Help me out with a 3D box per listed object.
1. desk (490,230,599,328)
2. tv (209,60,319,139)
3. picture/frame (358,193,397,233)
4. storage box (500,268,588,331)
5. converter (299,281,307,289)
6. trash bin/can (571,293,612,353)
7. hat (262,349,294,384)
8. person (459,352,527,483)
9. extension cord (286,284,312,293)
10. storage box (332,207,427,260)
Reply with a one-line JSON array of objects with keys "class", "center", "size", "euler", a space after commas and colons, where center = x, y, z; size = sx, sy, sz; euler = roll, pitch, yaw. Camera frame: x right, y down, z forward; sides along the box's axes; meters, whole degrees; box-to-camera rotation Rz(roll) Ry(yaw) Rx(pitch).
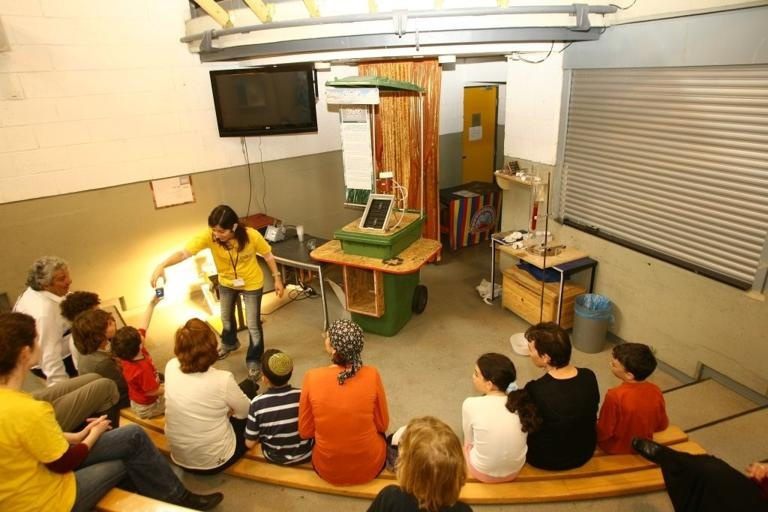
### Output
[{"class": "desk", "center": [2.008, 0.142, 6.600], "size": [0.579, 0.779, 1.068], "euler": [-32, 45, -16]}, {"class": "tv", "center": [-1.550, -2.049, 6.560], "size": [1.118, 0.662, 0.113], "euler": [-1, 20, 3]}, {"class": "picture/frame", "center": [-0.078, -0.530, 6.093], "size": [0.342, 0.481, 0.126], "euler": [9, -17, 28]}, {"class": "storage box", "center": [2.034, 0.455, 6.421], "size": [0.719, 0.726, 1.053], "euler": [-9, 21, -27]}, {"class": "converter", "center": [-1.185, 0.418, 7.458], "size": [0.117, 0.078, 0.077], "euler": [-8, 38, -20]}, {"class": "trash bin/can", "center": [2.411, 0.786, 5.889], "size": [0.496, 0.604, 0.431], "euler": [-14, 25, -26]}, {"class": "hat", "center": [-0.880, 0.904, 4.173], "size": [0.228, 0.208, 0.267], "euler": [-8, 55, -22]}, {"class": "person", "center": [0.897, 1.337, 4.115], "size": [0.521, 1.057, 0.429], "euler": [3, 24, 15]}, {"class": "extension cord", "center": [-1.255, 0.478, 7.451], "size": [0.228, 0.052, 0.175], "euler": [5, 11, 28]}, {"class": "storage box", "center": [-0.026, -0.303, 6.306], "size": [0.752, 0.371, 0.945], "euler": [8, 25, 26]}]
